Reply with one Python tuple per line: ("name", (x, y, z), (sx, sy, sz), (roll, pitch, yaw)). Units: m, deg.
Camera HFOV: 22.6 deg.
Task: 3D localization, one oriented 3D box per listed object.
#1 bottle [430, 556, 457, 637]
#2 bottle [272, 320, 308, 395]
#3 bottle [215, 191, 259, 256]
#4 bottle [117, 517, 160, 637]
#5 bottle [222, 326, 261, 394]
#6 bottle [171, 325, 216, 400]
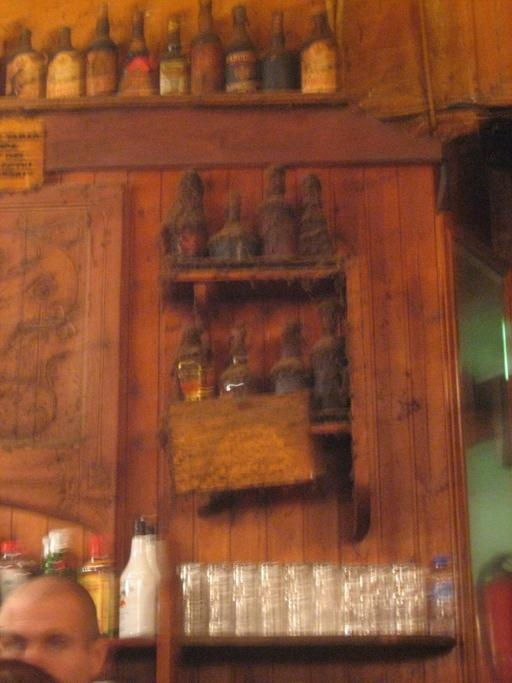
("bottle", (0.408, 0.544, 2.765), (0.057, 0.166, 0.020), (-4, -13, 7))
("bottle", (0.074, 0.031, 2.884), (0.077, 0.167, 0.062), (-3, -13, 0))
("bottle", (-0.049, -0.252, 2.909), (0.115, 0.196, 0.124), (0, -26, 0))
("bottle", (-0.250, 0.501, 2.729), (0.087, 0.245, 0.112), (-1, -13, -5))
("bottle", (-0.035, 0.045, 2.891), (0.071, 0.188, 0.073), (2, -21, 1))
("bottle", (-0.142, 0.032, 2.923), (0.111, 0.173, 0.112), (7, -3, 0))
